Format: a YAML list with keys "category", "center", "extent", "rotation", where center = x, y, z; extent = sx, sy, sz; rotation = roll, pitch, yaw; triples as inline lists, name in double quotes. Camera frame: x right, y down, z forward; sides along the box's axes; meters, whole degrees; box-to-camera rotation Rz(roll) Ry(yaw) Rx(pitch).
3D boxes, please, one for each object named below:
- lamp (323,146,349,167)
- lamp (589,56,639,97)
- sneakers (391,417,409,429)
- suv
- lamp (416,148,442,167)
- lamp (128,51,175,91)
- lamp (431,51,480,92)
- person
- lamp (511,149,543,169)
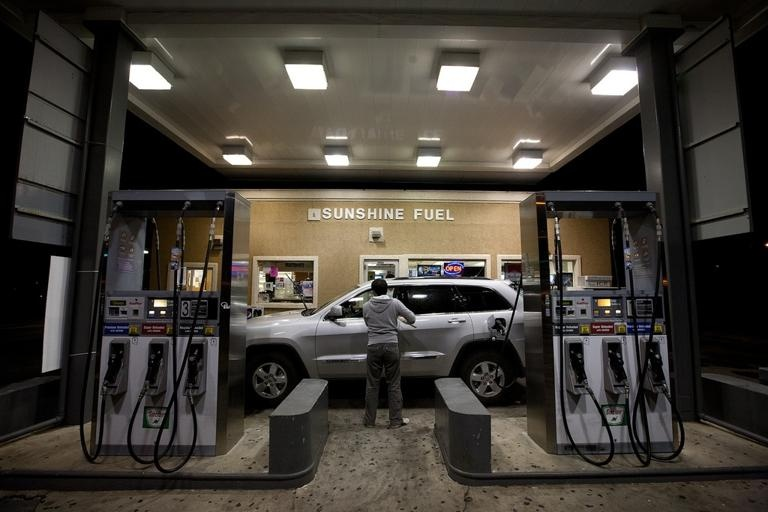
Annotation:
- category: "lamp"
  center: [-1.124, -2.442, 12.342]
  extent: [0.612, 0.279, 0.887]
  rotation: [-2, -4, -4]
- category: "lamp"
  center: [4.168, -3.229, 9.087]
  extent: [0.605, 0.234, 0.645]
  rotation: [-5, -11, 14]
- category: "sneakers"
  center: [0.270, 2.665, 8.077]
  extent: [0.119, 0.127, 0.324]
  rotation: [1, 4, 35]
- category: "suv"
  center: [0.053, 1.553, 9.384]
  extent: [4.602, 1.792, 2.108]
  rotation: [2, -7, -2]
- category: "lamp"
  center: [1.099, -2.389, 12.225]
  extent: [0.558, 0.294, 0.514]
  rotation: [-3, -4, 2]
- category: "lamp"
  center: [-4.292, -3.323, 9.124]
  extent: [0.528, 0.133, 0.594]
  rotation: [-7, -13, 8]
- category: "lamp"
  center: [1.354, -3.332, 9.070]
  extent: [0.565, 0.148, 0.606]
  rotation: [2, -31, 2]
- category: "person"
  center: [0.050, 1.552, 8.189]
  extent: [0.790, 2.367, 0.298]
  rotation: [-2, -5, -3]
- category: "lamp"
  center: [3.492, -2.371, 12.378]
  extent: [0.639, 0.328, 0.763]
  rotation: [-1, -5, -23]
